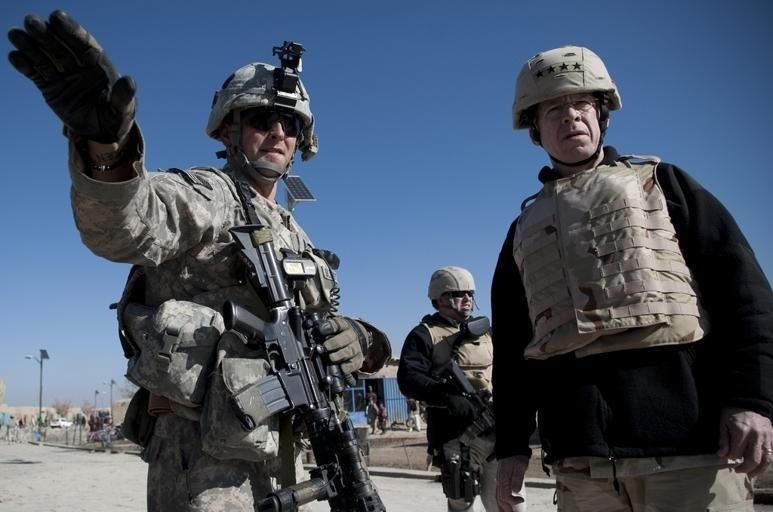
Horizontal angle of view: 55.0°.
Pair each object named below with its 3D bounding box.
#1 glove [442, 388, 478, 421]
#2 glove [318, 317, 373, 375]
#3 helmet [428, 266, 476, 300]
[{"bbox_3d":[0.658,1.330,6.512,0.280,0.233,0.105,-4,-13,4],"label":"glove"},{"bbox_3d":[-0.236,0.514,4.249,0.281,0.392,0.182,10,-28,-7],"label":"glove"},{"bbox_3d":[0.681,0.276,7.880,0.488,0.353,0.506,-5,7,-17],"label":"helmet"}]
